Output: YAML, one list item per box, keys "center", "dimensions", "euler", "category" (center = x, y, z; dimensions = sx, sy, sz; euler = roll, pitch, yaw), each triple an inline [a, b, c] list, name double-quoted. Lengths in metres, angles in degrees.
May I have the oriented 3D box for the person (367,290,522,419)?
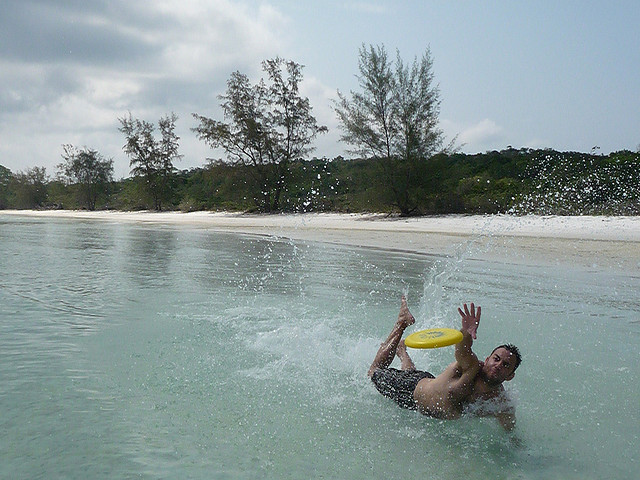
- center: [1.442, 1.276, 5.227]
  dimensions: [1.208, 0.880, 1.487]
  euler: [24, -9, -30]
  category: "person"
